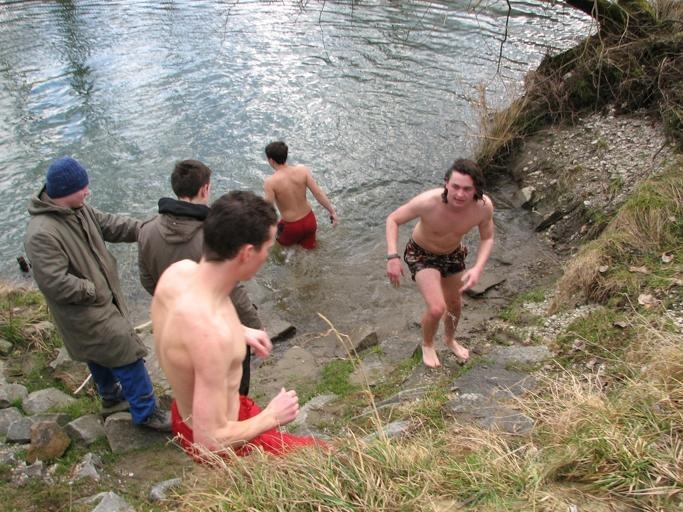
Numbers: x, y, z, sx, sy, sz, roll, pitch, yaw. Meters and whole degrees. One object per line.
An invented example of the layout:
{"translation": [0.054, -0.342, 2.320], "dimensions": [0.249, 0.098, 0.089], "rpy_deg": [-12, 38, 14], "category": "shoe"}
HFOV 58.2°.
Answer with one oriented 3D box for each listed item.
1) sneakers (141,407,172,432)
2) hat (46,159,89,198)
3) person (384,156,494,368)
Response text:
{"translation": [-2.009, 1.797, 6.789], "dimensions": [0.508, 0.215, 0.173], "rpy_deg": [-2, 49, -11], "category": "sneakers"}
{"translation": [-2.945, -0.832, 6.474], "dimensions": [0.421, 0.374, 0.257], "rpy_deg": [-17, 31, -23], "category": "hat"}
{"translation": [1.156, 0.075, 7.399], "dimensions": [1.304, 2.505, 1.124], "rpy_deg": [2, 20, 10], "category": "person"}
